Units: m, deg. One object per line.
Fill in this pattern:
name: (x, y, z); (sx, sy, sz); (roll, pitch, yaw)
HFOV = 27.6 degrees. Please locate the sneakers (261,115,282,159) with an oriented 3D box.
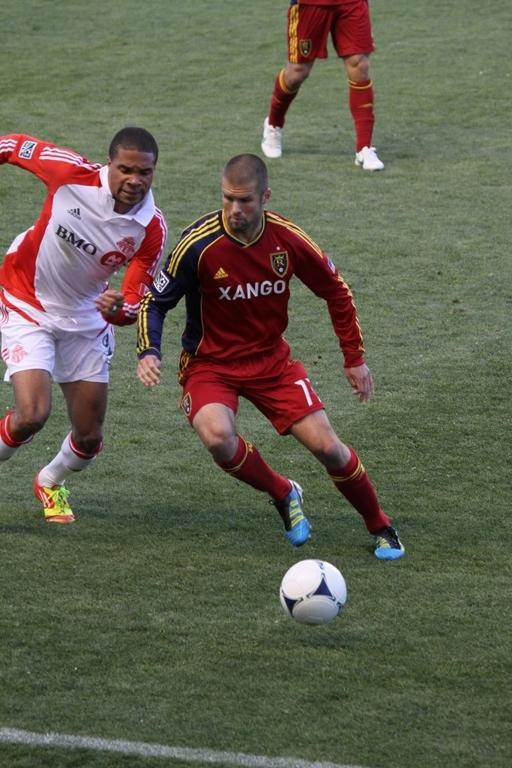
sneakers: (0.091, -1.849, 7.835); (0.133, 0.143, 0.326); (-4, 59, -8)

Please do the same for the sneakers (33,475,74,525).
sneakers: (-0.824, 0.476, 4.253); (0.111, 0.103, 0.243); (-18, 48, -37)

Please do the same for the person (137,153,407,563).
person: (0.038, -0.083, 3.966); (0.906, 1.503, 0.639); (-2, 33, 5)

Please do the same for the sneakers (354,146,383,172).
sneakers: (0.851, -1.651, 7.678); (0.128, 0.114, 0.265); (-26, 30, -13)
